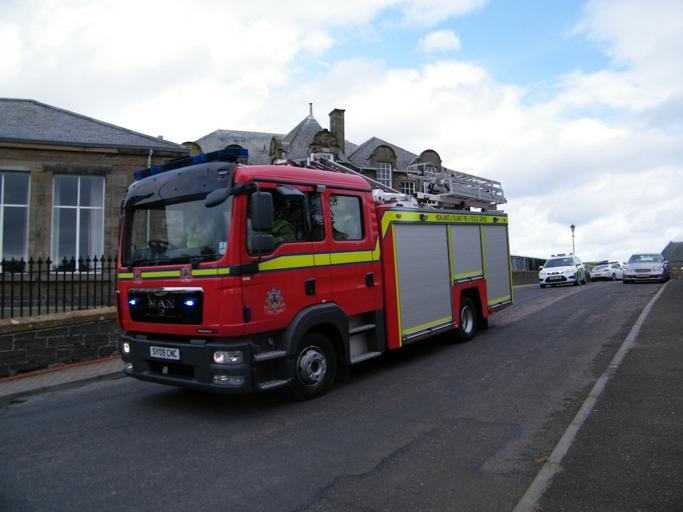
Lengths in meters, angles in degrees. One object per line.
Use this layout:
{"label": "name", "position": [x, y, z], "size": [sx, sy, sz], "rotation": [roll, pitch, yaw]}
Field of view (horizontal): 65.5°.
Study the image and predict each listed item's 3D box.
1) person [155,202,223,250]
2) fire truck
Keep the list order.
{"label": "person", "position": [-1.979, -0.416, 7.072], "size": [1.200, 0.640, 0.257], "rotation": [0, 4, 39]}
{"label": "fire truck", "position": [0.135, 0.320, 10.124], "size": [3.517, 3.424, 7.843], "rotation": [-7, -8, 44]}
